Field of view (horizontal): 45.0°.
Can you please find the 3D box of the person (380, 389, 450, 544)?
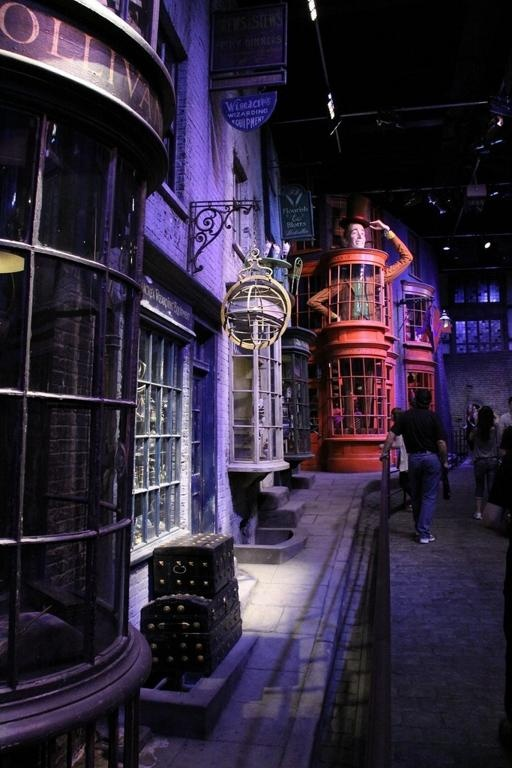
[{"bbox_3d":[1.808,0.956,7.140,0.646,1.804,0.648,3,3,13],"label":"person"}]
